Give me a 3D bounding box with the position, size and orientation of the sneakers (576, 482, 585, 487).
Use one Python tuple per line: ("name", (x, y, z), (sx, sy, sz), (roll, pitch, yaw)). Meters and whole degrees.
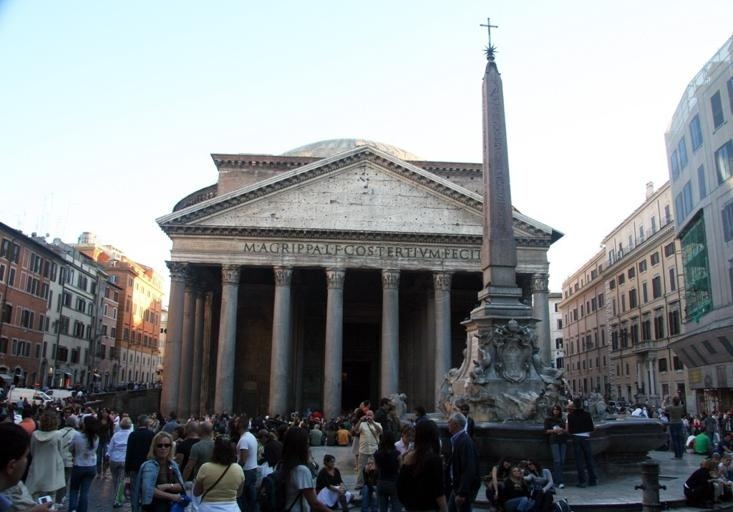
("sneakers", (4.578, 4.902, 13.167), (0.168, 0.083, 0.211), (-5, -17, 15))
